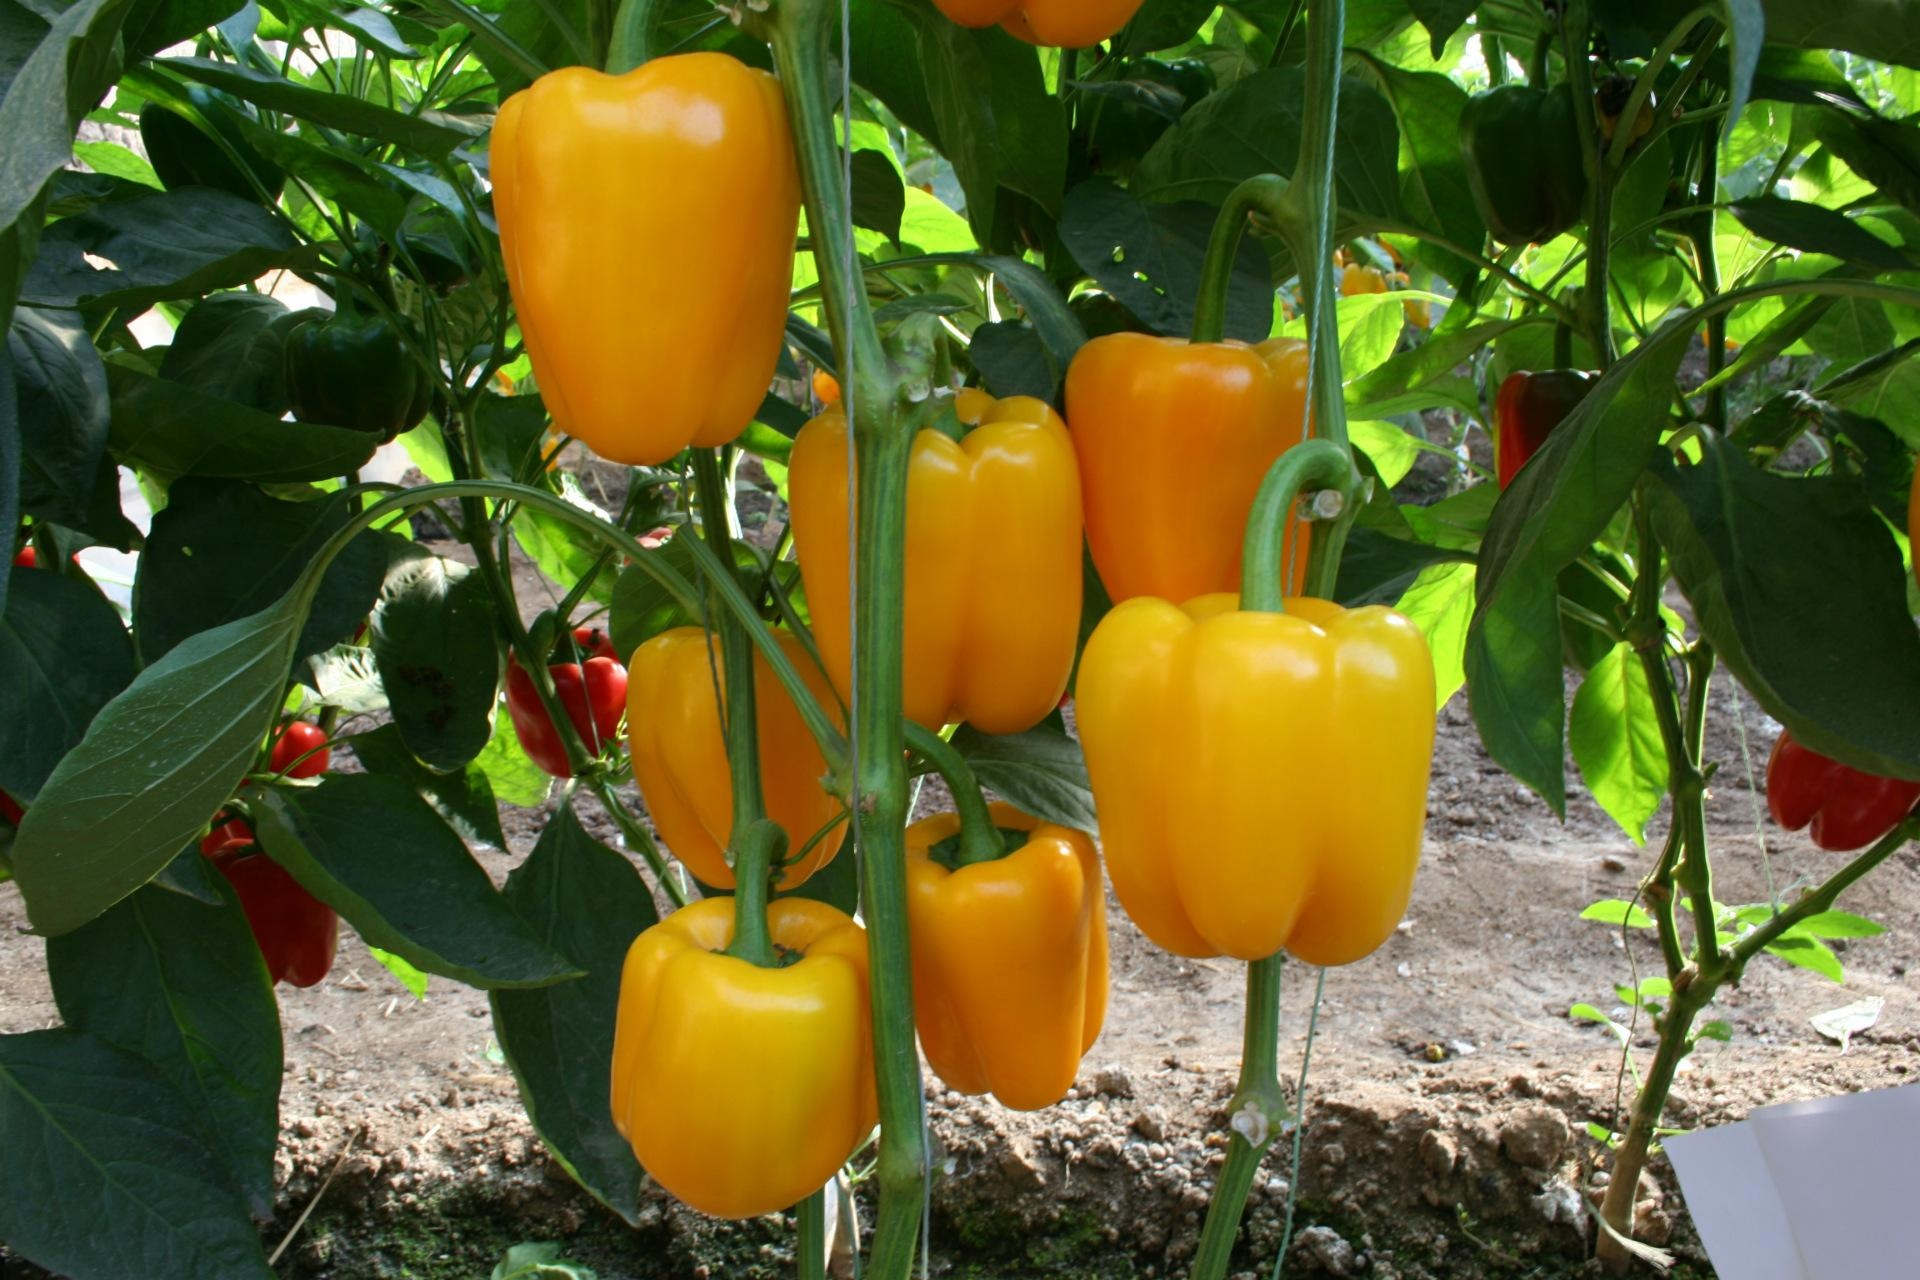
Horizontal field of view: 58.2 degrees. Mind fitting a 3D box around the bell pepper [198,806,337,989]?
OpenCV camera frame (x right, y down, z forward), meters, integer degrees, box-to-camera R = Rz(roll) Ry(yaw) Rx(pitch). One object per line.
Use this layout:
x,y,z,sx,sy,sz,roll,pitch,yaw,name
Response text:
-0.579,0.231,1.460,0.089,0.155,0.190,-4,22,-30,bell pepper
